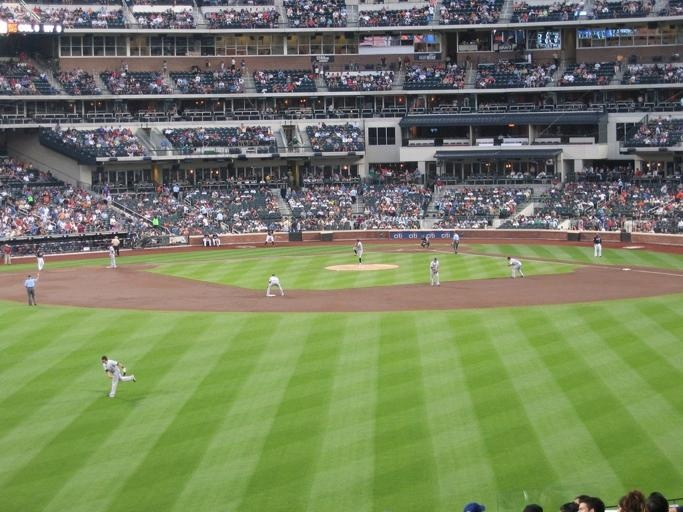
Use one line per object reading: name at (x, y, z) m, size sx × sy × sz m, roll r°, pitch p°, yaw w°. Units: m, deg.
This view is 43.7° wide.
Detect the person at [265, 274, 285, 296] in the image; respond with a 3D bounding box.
person at (-3.774, 1.706, 48.180) m, size 0.823 × 1.277 × 0.837 m, roll -5°, pitch 31°, yaw -5°

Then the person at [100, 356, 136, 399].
person at (-8.348, 4.289, 31.830) m, size 0.956 × 1.673 × 1.582 m, roll -3°, pitch 13°, yaw -14°
